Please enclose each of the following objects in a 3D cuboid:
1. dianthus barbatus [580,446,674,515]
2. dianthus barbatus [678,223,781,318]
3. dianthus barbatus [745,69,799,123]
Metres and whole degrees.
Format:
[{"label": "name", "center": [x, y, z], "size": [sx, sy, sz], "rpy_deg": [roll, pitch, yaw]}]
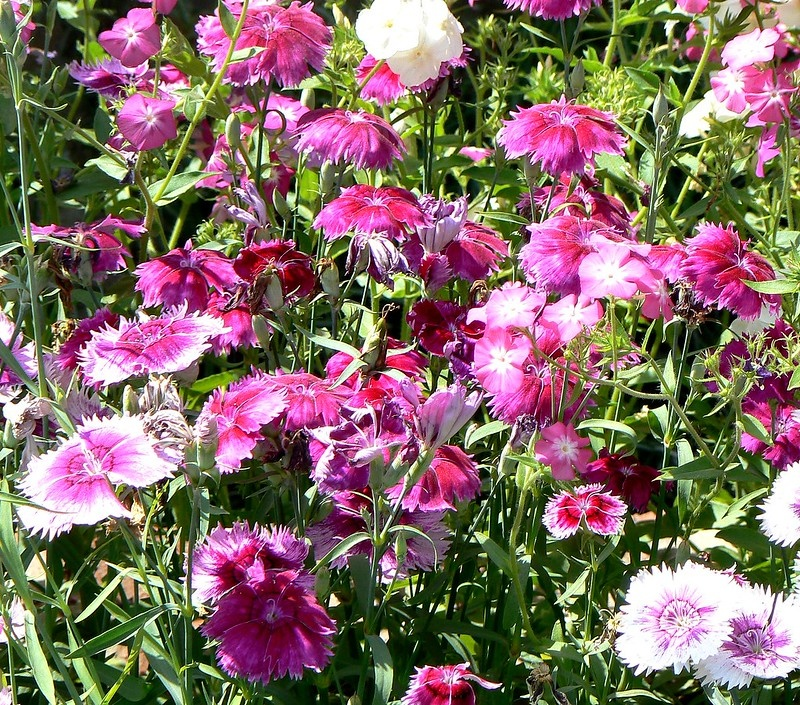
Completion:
[{"label": "dianthus barbatus", "center": [0.355, 0.194, 1.671], "size": [0.092, 0.035, 0.103], "rpy_deg": [27, 26, -16]}, {"label": "dianthus barbatus", "center": [0.476, -0.110, 1.551], "size": [0.134, 0.056, 0.146], "rpy_deg": [26, 46, 15]}, {"label": "dianthus barbatus", "center": [0.644, -0.452, 1.847], "size": [0.078, 0.074, 0.074], "rpy_deg": [24, 43, 17]}]
